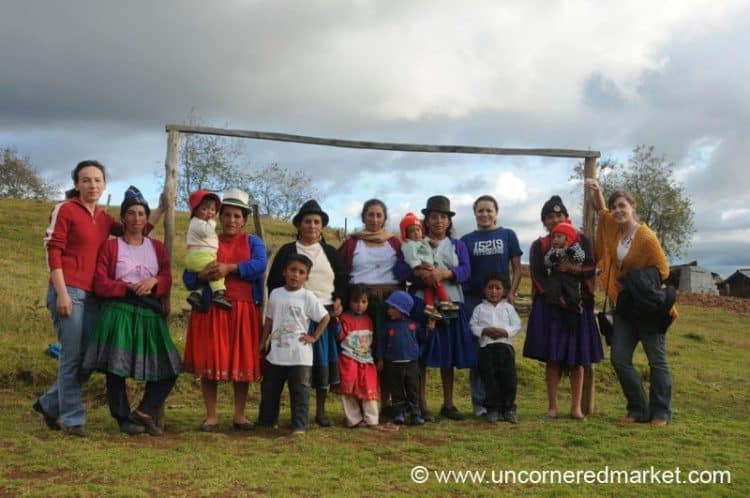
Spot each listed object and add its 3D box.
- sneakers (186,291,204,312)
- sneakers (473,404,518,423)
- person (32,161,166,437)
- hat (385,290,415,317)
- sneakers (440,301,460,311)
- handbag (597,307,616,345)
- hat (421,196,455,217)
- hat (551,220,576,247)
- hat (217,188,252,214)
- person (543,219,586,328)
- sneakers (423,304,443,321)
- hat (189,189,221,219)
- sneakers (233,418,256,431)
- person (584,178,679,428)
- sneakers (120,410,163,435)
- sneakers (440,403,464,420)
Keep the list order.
[{"bbox_3d":[-2.080,0.612,6.386,0.096,0.187,0.193,-17,-49,19],"label":"sneakers"},{"bbox_3d":[1.486,2.071,6.926,0.566,0.236,0.183,17,-19,-23],"label":"sneakers"},{"bbox_3d":[-3.330,0.527,6.196,0.666,3.009,0.727,4,7,19],"label":"person"},{"bbox_3d":[0.333,0.645,6.835,0.254,0.265,0.330,-1,-49,50],"label":"hat"},{"bbox_3d":[0.920,0.707,6.886,0.259,0.107,0.092,2,-12,-5],"label":"sneakers"},{"bbox_3d":[3.047,1.011,7.182,0.118,0.424,0.238,0,2,-17],"label":"handbag"},{"bbox_3d":[0.734,-0.489,6.388,0.403,0.178,0.462,3,-28,3],"label":"hat"},{"bbox_3d":[2.340,-0.178,6.837,0.349,0.326,0.294,-4,-5,-9],"label":"hat"},{"bbox_3d":[-1.673,-0.572,6.700,0.264,0.329,0.574,3,7,10],"label":"hat"},{"bbox_3d":[2.395,0.292,6.970,0.507,1.242,0.383,4,7,16],"label":"person"},{"bbox_3d":[0.710,0.780,6.842,0.321,0.146,0.111,25,23,-41],"label":"sneakers"},{"bbox_3d":[-2.032,-0.559,6.569,0.396,0.314,0.289,2,7,2],"label":"hat"},{"bbox_3d":[-1.540,2.067,6.465,0.197,0.069,0.111,0,-5,20],"label":"sneakers"},{"bbox_3d":[3.286,0.740,7.043,0.684,2.944,1.105,-1,7,-17],"label":"person"},{"bbox_3d":[-2.637,1.967,6.285,0.542,0.241,0.197,11,5,-5],"label":"sneakers"},{"bbox_3d":[0.977,2.098,7.073,0.136,0.115,0.292,2,-6,-32],"label":"sneakers"}]
